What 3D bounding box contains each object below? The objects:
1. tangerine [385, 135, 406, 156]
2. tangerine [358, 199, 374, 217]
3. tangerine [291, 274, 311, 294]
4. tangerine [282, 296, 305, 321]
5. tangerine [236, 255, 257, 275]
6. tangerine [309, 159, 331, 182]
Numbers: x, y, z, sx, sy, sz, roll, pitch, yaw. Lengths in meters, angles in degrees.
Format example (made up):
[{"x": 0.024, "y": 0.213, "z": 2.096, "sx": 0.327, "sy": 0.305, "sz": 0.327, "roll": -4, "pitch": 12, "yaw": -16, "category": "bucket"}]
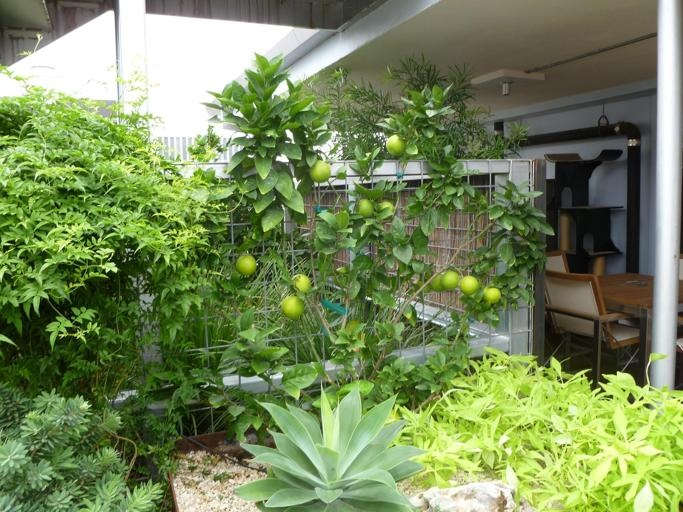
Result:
[{"x": 0.238, "y": -0.500, "z": 2.195, "sx": 0.106, "sy": 0.082, "sz": 0.064, "roll": -5, "pitch": 5, "yaw": -44, "category": "tangerine"}, {"x": 0.096, "y": -0.209, "z": 2.065, "sx": 0.059, "sy": 0.077, "sz": 0.063, "roll": -5, "pitch": -23, "yaw": 5, "category": "tangerine"}, {"x": -0.153, "y": 0.102, "z": 2.076, "sx": 0.067, "sy": 0.077, "sz": 0.117, "roll": 1, "pitch": 4, "yaw": 29, "category": "tangerine"}, {"x": -0.202, "y": 0.200, "z": 2.056, "sx": 0.091, "sy": 0.103, "sz": 0.078, "roll": 1, "pitch": 4, "yaw": 29, "category": "tangerine"}, {"x": -0.386, "y": 0.025, "z": 2.042, "sx": 0.066, "sy": 0.072, "sz": 0.068, "roll": -1, "pitch": 11, "yaw": 3, "category": "tangerine"}, {"x": -0.089, "y": -0.358, "z": 2.017, "sx": 0.078, "sy": 0.102, "sz": 0.080, "roll": -6, "pitch": 11, "yaw": -5, "category": "tangerine"}]
